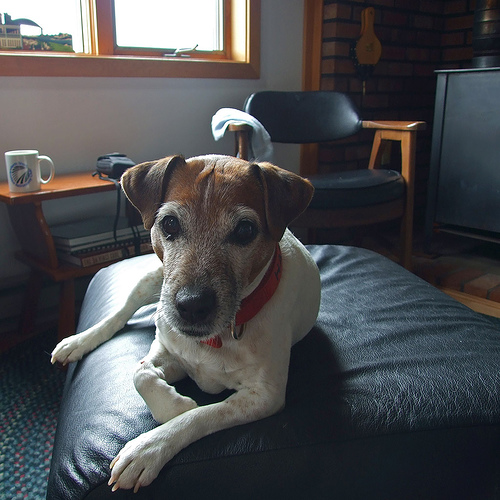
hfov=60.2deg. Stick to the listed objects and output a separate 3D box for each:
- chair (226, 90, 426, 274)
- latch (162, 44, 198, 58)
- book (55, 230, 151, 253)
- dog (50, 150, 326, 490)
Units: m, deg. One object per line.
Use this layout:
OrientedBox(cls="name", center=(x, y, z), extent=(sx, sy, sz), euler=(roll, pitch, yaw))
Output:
OrientedBox(cls="chair", center=(0.303, -0.285, 2.019), extent=(0.791, 0.948, 0.798), euler=(-7, 14, -18))
OrientedBox(cls="latch", center=(-0.358, -1.005, 2.183), extent=(0.190, 0.056, 0.098), euler=(-14, 29, -24))
OrientedBox(cls="book", center=(-0.561, -0.034, 1.587), extent=(0.108, 0.029, 0.132), euler=(18, 26, 42))
OrientedBox(cls="dog", center=(-0.043, 0.015, 0.693), extent=(0.294, 0.295, 0.469), euler=(5, 20, 13))
